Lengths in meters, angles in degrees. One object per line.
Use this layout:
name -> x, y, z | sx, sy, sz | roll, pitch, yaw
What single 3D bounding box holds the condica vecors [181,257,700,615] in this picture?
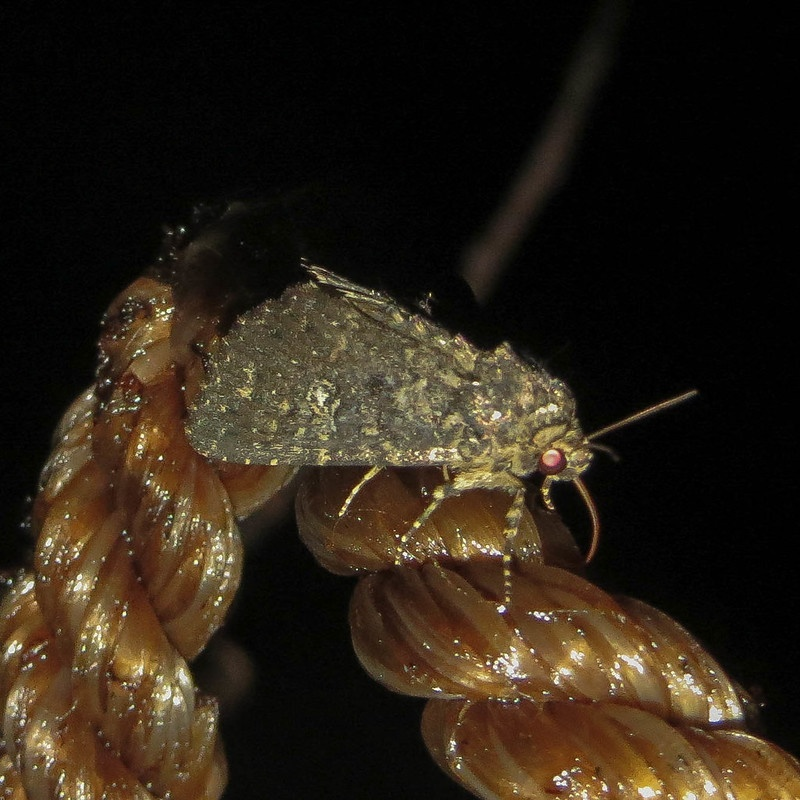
condica vecors -> 0.063, -0.035, 2.039 | 0.708, 0.220, 0.379 | 14, 81, 9
